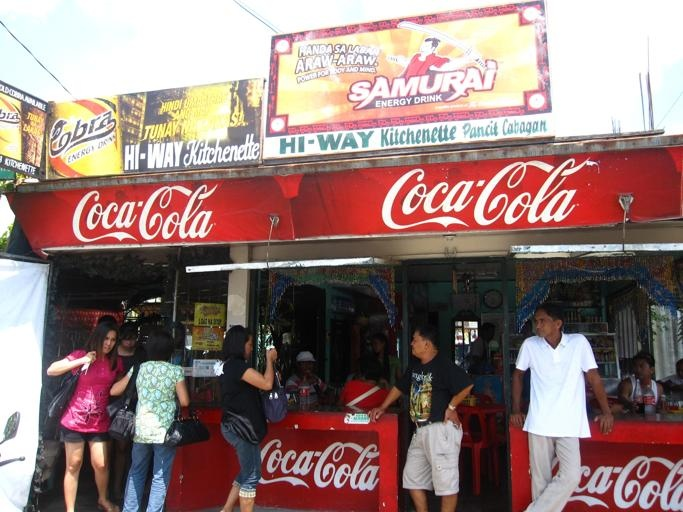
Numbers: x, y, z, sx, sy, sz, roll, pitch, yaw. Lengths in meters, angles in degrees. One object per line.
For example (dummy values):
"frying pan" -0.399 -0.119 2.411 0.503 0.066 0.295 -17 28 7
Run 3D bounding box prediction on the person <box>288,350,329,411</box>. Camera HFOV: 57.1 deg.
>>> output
"person" -0.427 1.524 7.825 0.507 0.658 1.270 1 -8 -1

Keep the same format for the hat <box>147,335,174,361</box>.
"hat" -1.897 0.949 6.611 0.207 0.302 0.291 4 3 -5

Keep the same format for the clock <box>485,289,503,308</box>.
"clock" 3.289 0.900 13.450 0.436 0.420 0.199 -6 -10 44

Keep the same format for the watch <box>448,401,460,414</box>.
"watch" 1.165 1.563 6.456 0.096 0.096 0.085 21 -9 13

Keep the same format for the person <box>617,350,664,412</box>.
"person" 3.501 1.460 7.300 0.452 0.684 0.718 -3 -9 27

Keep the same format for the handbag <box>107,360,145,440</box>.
"handbag" -2.317 1.545 6.735 0.290 0.780 0.342 1 0 42

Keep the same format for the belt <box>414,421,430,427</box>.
"belt" 0.844 1.737 6.501 0.073 0.041 0.101 -10 -25 32

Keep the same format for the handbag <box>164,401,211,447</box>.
"handbag" -1.638 1.746 6.641 0.198 0.509 0.521 -17 -16 30
